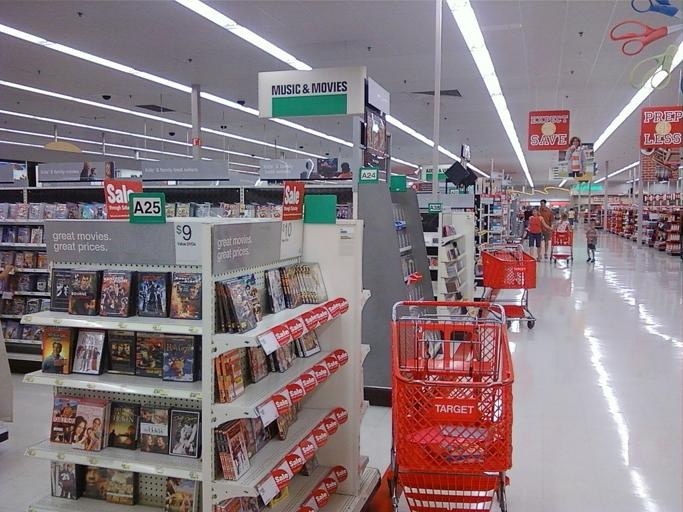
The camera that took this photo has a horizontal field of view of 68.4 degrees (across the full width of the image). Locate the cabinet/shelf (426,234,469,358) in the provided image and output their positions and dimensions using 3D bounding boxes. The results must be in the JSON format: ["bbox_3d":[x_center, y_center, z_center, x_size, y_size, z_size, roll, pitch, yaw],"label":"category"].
[{"bbox_3d":[1.223,0.409,5.930,0.409,1.279,1.272,-1,8,15],"label":"cabinet/shelf"}]

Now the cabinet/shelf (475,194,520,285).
[{"bbox_3d":[3.486,-0.453,11.496,0.915,2.936,2.963,0,4,16],"label":"cabinet/shelf"}]

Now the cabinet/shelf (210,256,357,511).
[{"bbox_3d":[-0.353,0.739,3.005,0.499,1.576,1.575,0,3,15],"label":"cabinet/shelf"}]

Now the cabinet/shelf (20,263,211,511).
[{"bbox_3d":[-1.166,0.782,2.868,1.107,1.044,0.361,-2,-1,10],"label":"cabinet/shelf"}]
